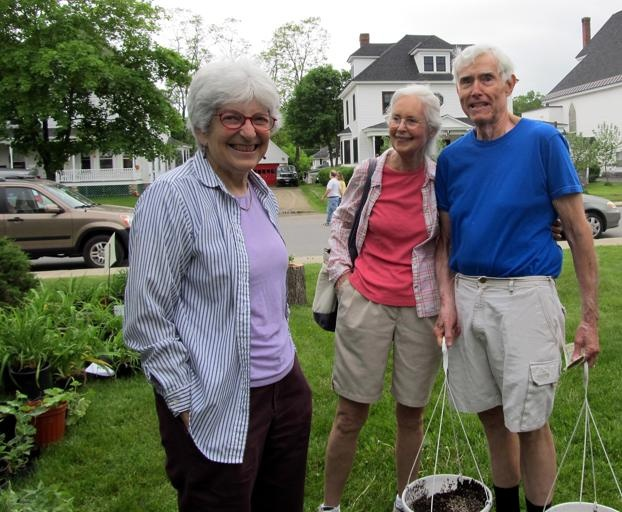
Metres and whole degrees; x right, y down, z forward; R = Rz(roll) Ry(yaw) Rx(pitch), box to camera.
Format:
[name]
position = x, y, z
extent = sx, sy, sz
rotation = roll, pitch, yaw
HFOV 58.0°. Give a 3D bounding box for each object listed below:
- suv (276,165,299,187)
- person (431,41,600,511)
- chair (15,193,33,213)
[suv]
position = -1.833, -5.930, 42.363
extent = 1.034, 1.092, 2.169
rotation = -1, 2, -1
[person]
position = 0.978, 0.149, 2.765
extent = 0.789, 2.388, 0.436
rotation = 0, 5, 26
[chair]
position = -5.678, -1.026, 11.160
extent = 0.272, 0.400, 0.354
rotation = 2, 6, -10
